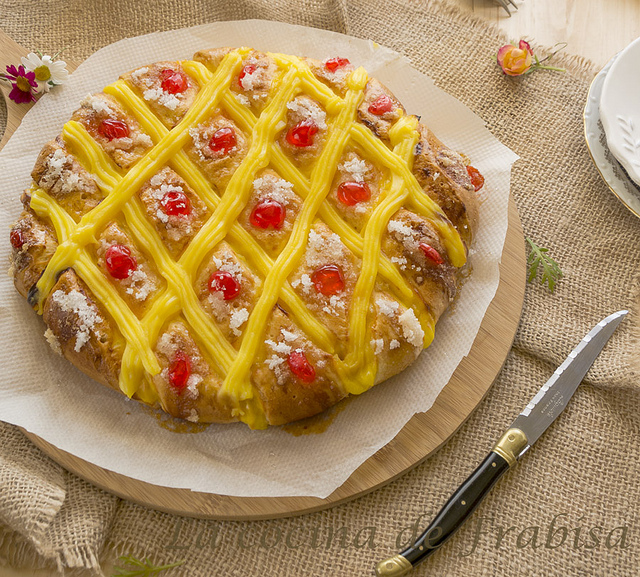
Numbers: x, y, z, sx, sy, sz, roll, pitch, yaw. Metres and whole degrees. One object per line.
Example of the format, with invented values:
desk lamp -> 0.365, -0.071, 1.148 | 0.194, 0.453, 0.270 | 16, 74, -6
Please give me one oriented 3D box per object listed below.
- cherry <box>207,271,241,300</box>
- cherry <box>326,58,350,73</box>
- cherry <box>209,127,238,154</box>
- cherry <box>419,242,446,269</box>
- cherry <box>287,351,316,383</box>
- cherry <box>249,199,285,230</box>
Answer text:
cherry -> -0.296, -0.011, 2.111 | 0.101, 0.034, 0.078 | 26, 77, 6
cherry -> 0.063, -0.762, 2.351 | 0.071, 0.023, 0.045 | -19, 70, -15
cherry -> -0.317, -0.474, 2.213 | 0.072, 0.043, 0.085 | 4, 58, -1
cherry -> 0.350, -0.098, 2.172 | 0.050, 0.032, 0.099 | -29, 86, -14
cherry -> -0.056, 0.238, 2.093 | 0.059, 0.026, 0.097 | -37, 88, -7
cherry -> -0.168, -0.233, 2.170 | 0.110, 0.035, 0.090 | 4, 76, 0
